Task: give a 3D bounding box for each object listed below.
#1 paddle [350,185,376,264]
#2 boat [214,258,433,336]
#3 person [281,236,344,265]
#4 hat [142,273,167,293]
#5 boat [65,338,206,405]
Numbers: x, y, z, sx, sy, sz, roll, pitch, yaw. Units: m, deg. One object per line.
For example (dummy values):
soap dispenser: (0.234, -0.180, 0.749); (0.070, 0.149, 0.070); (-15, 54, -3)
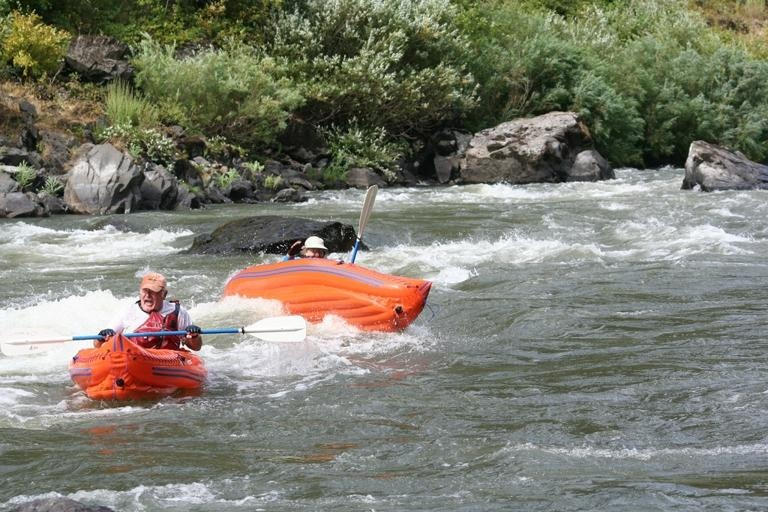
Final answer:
paddle: (-0.460, -0.651, 27.749); (0.105, 2.062, 0.231); (1, 29, -29)
boat: (-1.017, 0.883, 26.014); (3.790, 0.944, 1.567); (6, -1, 14)
person: (-1.720, -0.131, 26.655); (0.801, 0.409, 1.034); (16, -25, -23)
hat: (-4.480, 0.509, 24.012); (0.449, 0.364, 0.272); (1, 9, -3)
boat: (-5.042, 2.234, 24.567); (2.486, 0.776, 2.784); (-1, -4, -1)
